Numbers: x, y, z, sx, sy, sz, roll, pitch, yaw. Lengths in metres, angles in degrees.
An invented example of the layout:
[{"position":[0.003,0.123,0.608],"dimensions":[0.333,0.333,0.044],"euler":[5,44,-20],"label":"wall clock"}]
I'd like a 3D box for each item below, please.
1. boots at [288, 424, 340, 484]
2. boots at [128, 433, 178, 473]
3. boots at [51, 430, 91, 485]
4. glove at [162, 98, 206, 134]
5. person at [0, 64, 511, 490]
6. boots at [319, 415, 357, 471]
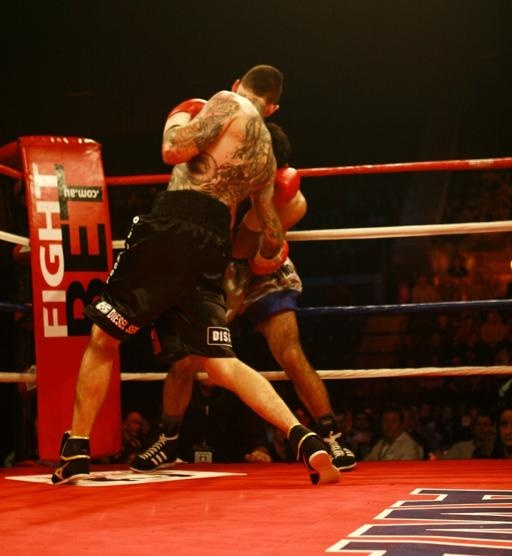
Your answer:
[{"position":[0.167,0.434,1.499],"dimensions":[0.079,0.182,0.082],"euler":[-28,27,-6],"label":"boots"},{"position":[-0.308,0.563,1.955],"dimensions":[0.067,0.110,0.202],"euler":[8,-1,45],"label":"boots"},{"position":[-0.466,0.463,1.562],"dimensions":[0.093,0.123,0.084],"euler":[6,7,0],"label":"boots"},{"position":[-0.234,-0.450,1.731],"dimensions":[0.154,0.059,0.107],"euler":[-14,17,28],"label":"glove"},{"position":[-0.027,0.016,1.737],"dimensions":[0.734,1.263,0.671],"euler":[8,8,11],"label":"person"},{"position":[0.211,0.521,1.953],"dimensions":[0.077,0.114,0.207],"euler":[-28,8,-5],"label":"boots"}]
